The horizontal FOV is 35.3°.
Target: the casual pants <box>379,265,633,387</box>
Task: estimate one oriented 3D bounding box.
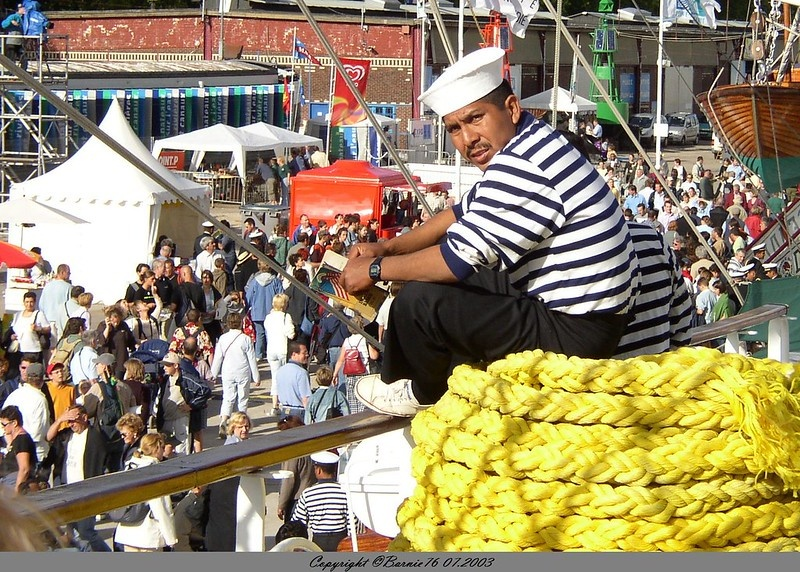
[{"bbox_3d":[0.406,0.195,5.837,0.835,0.366,0.574,-11,3,10],"label":"casual pants"}]

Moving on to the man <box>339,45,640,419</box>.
[{"bbox_3d":[0.556,-0.256,6.773,1.738,1.977,1.490,2,4,3],"label":"man"}]

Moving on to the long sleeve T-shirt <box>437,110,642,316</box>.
[{"bbox_3d":[0.745,-0.288,6.064,0.899,0.743,0.913,23,12,15],"label":"long sleeve T-shirt"}]

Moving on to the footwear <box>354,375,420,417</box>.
[{"bbox_3d":[-0.061,0.529,6.043,0.373,0.147,0.143,10,-7,-22],"label":"footwear"}]

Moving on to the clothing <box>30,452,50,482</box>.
[{"bbox_3d":[-3.272,1.700,11.510,0.185,0.337,0.191,7,-9,-28],"label":"clothing"}]

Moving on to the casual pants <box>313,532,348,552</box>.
[{"bbox_3d":[-0.568,2.071,10.203,0.223,0.162,0.267,0,10,26],"label":"casual pants"}]

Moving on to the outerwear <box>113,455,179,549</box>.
[{"bbox_3d":[-2.031,1.897,10.008,0.484,0.519,0.520,-6,9,-14],"label":"outerwear"}]

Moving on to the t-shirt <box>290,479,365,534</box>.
[{"bbox_3d":[-0.659,1.823,10.258,0.434,0.406,0.314,-5,9,-5],"label":"t-shirt"}]

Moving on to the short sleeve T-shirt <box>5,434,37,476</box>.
[{"bbox_3d":[-3.405,1.506,11.265,0.290,0.372,0.252,-7,9,-21],"label":"short sleeve T-shirt"}]

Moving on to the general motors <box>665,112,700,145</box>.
[{"bbox_3d":[11.565,-6.519,51.977,1.192,1.014,2.145,1,5,27],"label":"general motors"}]

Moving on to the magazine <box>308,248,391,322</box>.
[{"bbox_3d":[-0.224,0.030,5.992,0.377,0.283,0.100,26,8,5],"label":"magazine"}]
